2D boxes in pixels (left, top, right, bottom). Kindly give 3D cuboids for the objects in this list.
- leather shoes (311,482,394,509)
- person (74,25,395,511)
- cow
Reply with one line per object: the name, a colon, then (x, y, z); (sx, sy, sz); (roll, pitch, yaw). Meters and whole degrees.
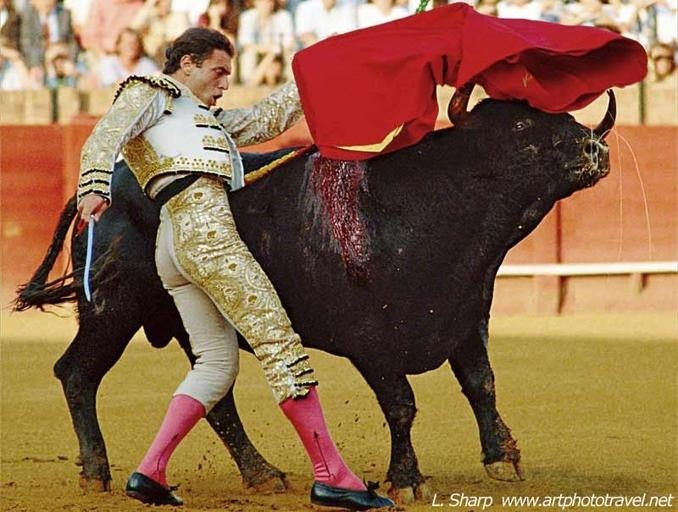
leather shoes: (0.033, 0.866, 4.380); (0.321, 0.086, 0.110); (4, -5, -8)
person: (-0.463, 0.050, 4.397); (0.907, 1.748, 0.514); (-3, 10, -5)
cow: (-0.141, 0.211, 4.796); (2.537, 1.448, 0.614); (-4, -6, 22)
